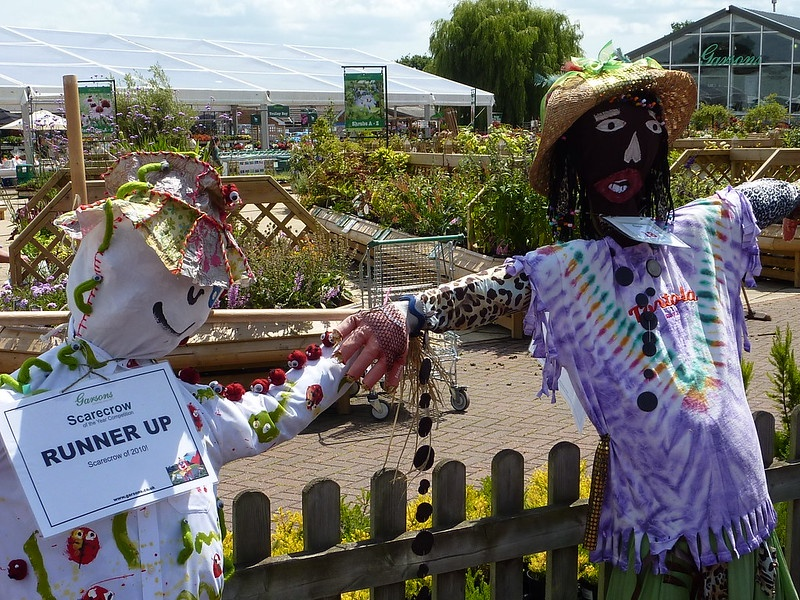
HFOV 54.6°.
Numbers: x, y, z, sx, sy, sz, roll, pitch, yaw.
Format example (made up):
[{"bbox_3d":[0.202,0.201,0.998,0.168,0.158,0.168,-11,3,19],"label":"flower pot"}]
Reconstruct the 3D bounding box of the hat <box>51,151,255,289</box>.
[{"bbox_3d":[-0.802,-0.310,2.662,0.621,0.448,0.736,17,-1,-10],"label":"hat"}]

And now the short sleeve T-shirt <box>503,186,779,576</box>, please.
[{"bbox_3d":[1.019,0.344,2.998,1.072,1.335,0.680,-5,12,-27],"label":"short sleeve T-shirt"}]

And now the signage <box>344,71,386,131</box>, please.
[{"bbox_3d":[-0.890,-5.013,19.714,1.337,1.908,0.128,-1,-2,-3],"label":"signage"}]
